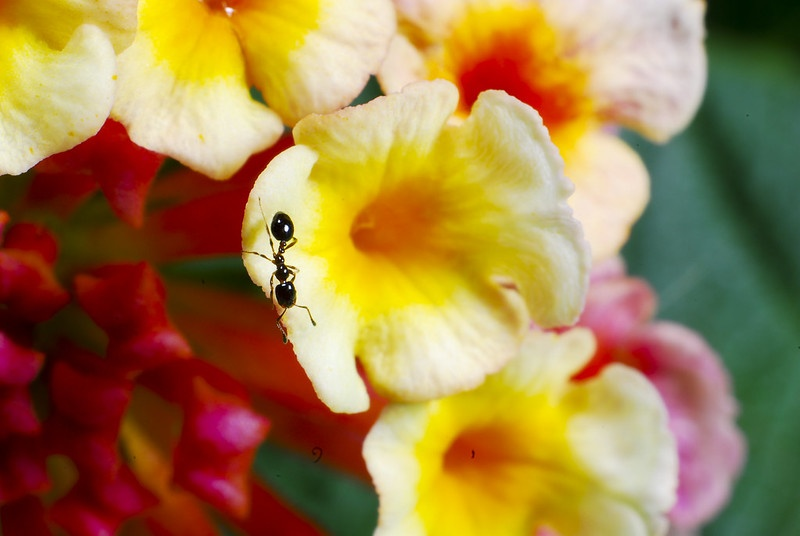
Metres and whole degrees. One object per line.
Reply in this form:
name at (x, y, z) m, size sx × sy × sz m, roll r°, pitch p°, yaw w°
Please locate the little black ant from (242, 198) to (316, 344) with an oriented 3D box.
little black ant at (-0.068, 0.002, 0.516) m, size 0.018 × 0.047 × 0.076 m, roll 1°, pitch 94°, yaw 38°
